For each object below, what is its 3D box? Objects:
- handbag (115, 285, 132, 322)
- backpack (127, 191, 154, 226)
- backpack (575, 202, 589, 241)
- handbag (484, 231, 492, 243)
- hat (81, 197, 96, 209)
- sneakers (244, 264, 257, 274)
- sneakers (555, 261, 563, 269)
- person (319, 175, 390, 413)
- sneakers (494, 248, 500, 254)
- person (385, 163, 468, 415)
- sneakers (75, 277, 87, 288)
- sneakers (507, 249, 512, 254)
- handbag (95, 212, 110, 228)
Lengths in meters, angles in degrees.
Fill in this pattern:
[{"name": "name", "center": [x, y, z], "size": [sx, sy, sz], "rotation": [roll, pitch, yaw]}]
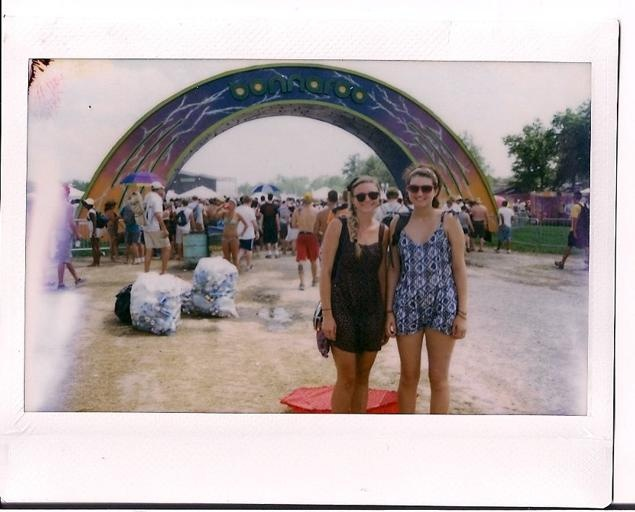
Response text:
[{"name": "handbag", "center": [-3.045, 0.772, 8.139], "size": [0.141, 0.588, 0.391], "rotation": [11, -4, -40]}, {"name": "backpack", "center": [-3.720, -0.947, 10.750], "size": [0.531, 0.609, 0.393], "rotation": [-19, 12, 1]}, {"name": "backpack", "center": [6.279, -0.761, 12.296], "size": [0.233, 0.965, 0.565], "rotation": [2, 6, 27]}, {"name": "handbag", "center": [5.686, -0.648, 17.250], "size": [0.149, 0.311, 0.289], "rotation": [-3, -6, 18]}, {"name": "hat", "center": [-6.505, -1.494, 14.762], "size": [0.285, 0.398, 0.591], "rotation": [0, 0, -24]}, {"name": "sneakers", "center": [-1.743, 0.343, 13.393], "size": [0.134, 0.218, 0.440], "rotation": [-1, -10, 1]}, {"name": "sneakers", "center": [6.602, 0.242, 14.120], "size": [0.104, 0.159, 0.212], "rotation": [-11, 29, -21]}, {"name": "person", "center": [0.319, 0.363, 4.342], "size": [0.572, 2.026, 0.263], "rotation": [-1, 5, 2]}, {"name": "sneakers", "center": [5.952, -0.156, 17.008], "size": [0.106, 0.210, 0.189], "rotation": [-2, -2, -8]}, {"name": "person", "center": [0.912, 0.335, 4.317], "size": [0.637, 2.154, 0.252], "rotation": [0, 5, 13]}, {"name": "sneakers", "center": [-5.122, 0.574, 11.213], "size": [0.097, 0.144, 0.316], "rotation": [5, 14, 8]}, {"name": "sneakers", "center": [6.353, -0.136, 17.110], "size": [0.136, 0.206, 0.416], "rotation": [-1, -1, 8]}, {"name": "handbag", "center": [-5.607, -0.926, 13.500], "size": [0.257, 0.425, 0.389], "rotation": [9, 2, -8]}]
